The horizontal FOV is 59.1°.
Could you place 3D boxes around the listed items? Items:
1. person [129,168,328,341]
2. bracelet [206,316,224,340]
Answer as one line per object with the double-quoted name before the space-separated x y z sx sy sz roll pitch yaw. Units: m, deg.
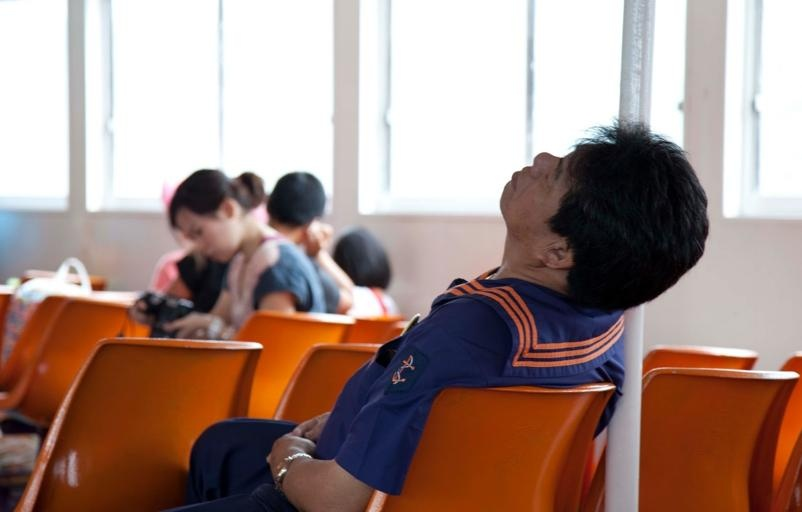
"person" -0.847 0.056 3.491 0.908 0.972 0.752 -6 0 -14
"bracelet" -0.839 0.326 3.235 0.064 0.087 0.081 3 -26 8
